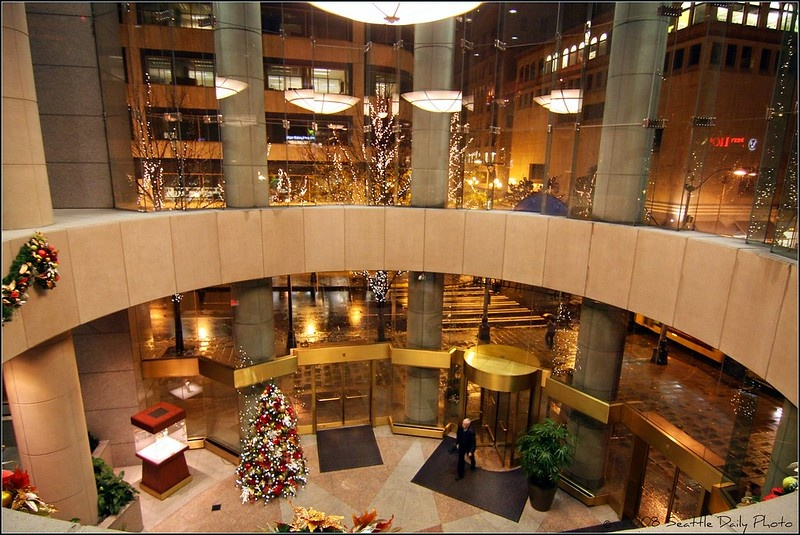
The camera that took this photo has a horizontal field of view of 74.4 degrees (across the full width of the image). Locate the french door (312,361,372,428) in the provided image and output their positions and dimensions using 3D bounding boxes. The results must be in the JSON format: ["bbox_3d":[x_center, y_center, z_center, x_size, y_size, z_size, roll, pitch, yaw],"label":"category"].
[{"bbox_3d":[-2.244,4.715,19.829,2.805,2.973,0.412,-1,8,-13],"label":"french door"}]

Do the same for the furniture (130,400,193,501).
[{"bbox_3d":[-7.807,5.960,17.040,1.643,2.383,1.683,-2,8,43],"label":"furniture"}]

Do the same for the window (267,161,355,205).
[{"bbox_3d":[-3.017,-2.839,17.749,2.853,1.436,0.031,1,2,7],"label":"window"}]

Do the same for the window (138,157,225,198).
[{"bbox_3d":[-6.658,-2.713,16.058,2.473,1.323,0.031,-2,-13,-16],"label":"window"}]

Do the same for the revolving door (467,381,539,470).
[{"bbox_3d":[4.190,5.229,18.963,2.959,2.956,2.801,-1,13,2],"label":"revolving door"}]

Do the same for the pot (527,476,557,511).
[{"bbox_3d":[4.444,7.031,16.382,0.890,0.829,0.886,7,-9,1],"label":"pot"}]

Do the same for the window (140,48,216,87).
[{"bbox_3d":[-6.590,-6.059,16.181,0.071,1.148,2.341,23,31,23],"label":"window"}]

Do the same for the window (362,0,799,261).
[{"bbox_3d":[5.534,-4.123,15.545,9.195,8.198,4.817,2,5,22],"label":"window"}]

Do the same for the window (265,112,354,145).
[{"bbox_3d":[-2.926,-4.642,17.726,3.254,1.085,0.062,-9,25,-31],"label":"window"}]
